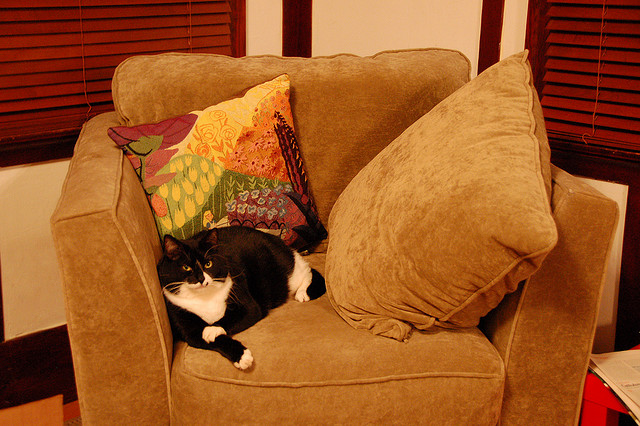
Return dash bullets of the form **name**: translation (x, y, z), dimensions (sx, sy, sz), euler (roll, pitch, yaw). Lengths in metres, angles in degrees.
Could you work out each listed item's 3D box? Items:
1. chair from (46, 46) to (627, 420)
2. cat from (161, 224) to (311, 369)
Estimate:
- **chair**: translation (0.051, 0.063, 1.754), dimensions (1.244, 1.065, 0.817), euler (0, 24, -1)
- **cat**: translation (-0.238, 0.186, 1.922), dimensions (0.515, 0.300, 0.744), euler (10, 16, 24)
